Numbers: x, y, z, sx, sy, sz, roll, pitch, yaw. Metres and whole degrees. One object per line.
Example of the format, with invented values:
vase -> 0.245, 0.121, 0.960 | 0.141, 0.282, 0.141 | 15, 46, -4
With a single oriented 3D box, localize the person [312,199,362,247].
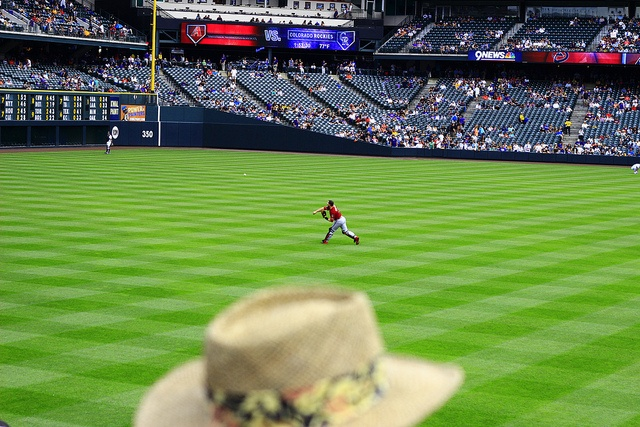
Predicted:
person -> 0.580, 0.209, 20.520 | 1.088, 1.386, 1.411 | 1, 8, 0
